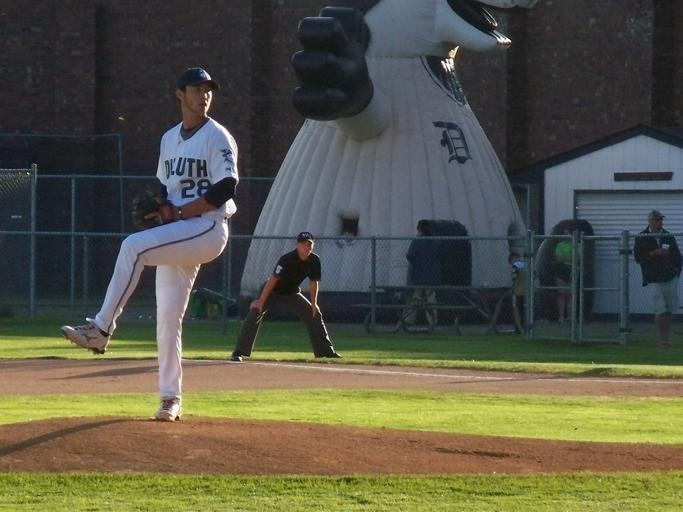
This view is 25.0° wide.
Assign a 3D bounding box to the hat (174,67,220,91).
[{"bbox_3d":[-2.257,-2.686,23.575,0.592,0.321,0.410,-10,4,18],"label":"hat"}]

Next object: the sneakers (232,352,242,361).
[{"bbox_3d":[-1.880,1.831,27.714,0.210,0.192,0.122,2,1,7],"label":"sneakers"}]

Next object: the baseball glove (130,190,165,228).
[{"bbox_3d":[-2.943,-0.676,23.321,0.432,0.551,0.303,3,-3,-9],"label":"baseball glove"}]
